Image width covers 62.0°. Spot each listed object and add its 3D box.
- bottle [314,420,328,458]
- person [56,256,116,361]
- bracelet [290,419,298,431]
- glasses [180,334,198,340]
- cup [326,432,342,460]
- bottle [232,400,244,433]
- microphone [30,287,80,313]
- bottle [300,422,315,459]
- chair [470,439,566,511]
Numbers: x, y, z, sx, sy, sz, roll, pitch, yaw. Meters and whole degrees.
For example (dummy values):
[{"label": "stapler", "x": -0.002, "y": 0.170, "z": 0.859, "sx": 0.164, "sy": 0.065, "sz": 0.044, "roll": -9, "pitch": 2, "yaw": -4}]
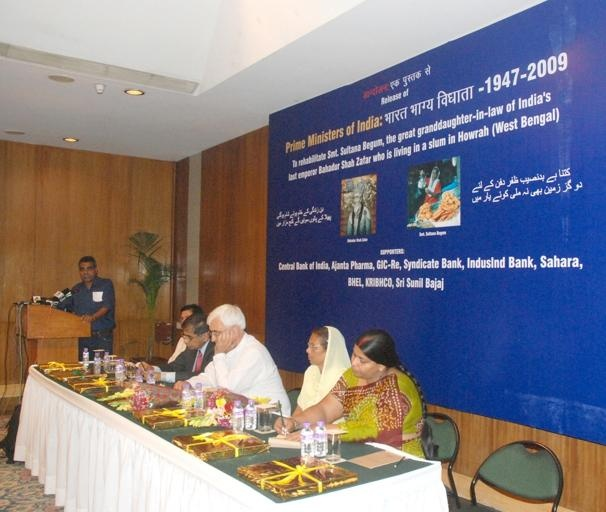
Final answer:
[{"label": "bottle", "x": 0.079, "y": 0.797, "z": 2.181, "sx": 0.063, "sy": 0.151, "sz": 0.054, "roll": 1, "pitch": -4, "yaw": -5}, {"label": "person", "x": -2.526, "y": 0.586, "z": 5.970, "sx": 0.590, "sy": 1.196, "sz": 1.180, "roll": 2, "pitch": -5, "yaw": -22}, {"label": "bracelet", "x": -0.050, "y": 0.880, "z": 2.620, "sx": 0.036, "sy": 0.038, "sz": 0.040, "roll": 10, "pitch": -10, "yaw": -23}, {"label": "glasses", "x": -0.901, "y": 0.661, "z": 4.076, "sx": 0.082, "sy": 0.030, "sz": 0.085, "roll": 11, "pitch": 13, "yaw": 43}, {"label": "cup", "x": 0.133, "y": 0.818, "z": 2.187, "sx": 0.050, "sy": 0.124, "sz": 0.071, "roll": 0, "pitch": -4, "yaw": 0}, {"label": "bottle", "x": -0.323, "y": 0.790, "z": 2.495, "sx": 0.052, "sy": 0.162, "sz": 0.140, "roll": 1, "pitch": -4, "yaw": -8}, {"label": "microphone", "x": -2.782, "y": 0.497, "z": 5.670, "sx": 0.544, "sy": 0.243, "sz": 0.178, "roll": 11, "pitch": -12, "yaw": -21}, {"label": "bottle", "x": 0.016, "y": 0.781, "z": 2.116, "sx": 0.051, "sy": 0.129, "sz": 0.111, "roll": 1, "pitch": -4, "yaw": -3}, {"label": "chair", "x": 1.259, "y": 1.302, "z": 2.951, "sx": 0.250, "sy": 0.425, "sz": 0.540, "roll": 4, "pitch": -6, "yaw": -39}]
